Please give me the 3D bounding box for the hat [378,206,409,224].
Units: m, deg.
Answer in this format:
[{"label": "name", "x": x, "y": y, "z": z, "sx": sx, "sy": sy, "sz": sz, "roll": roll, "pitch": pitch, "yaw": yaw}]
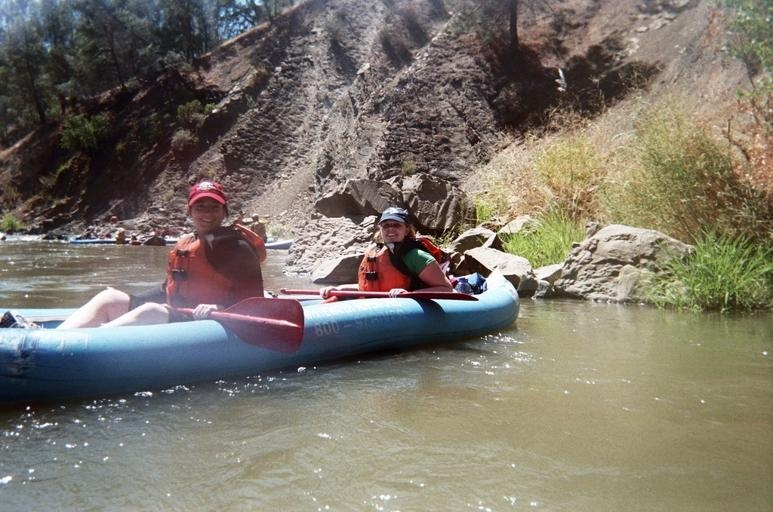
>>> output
[{"label": "hat", "x": 0.078, "y": -0.436, "z": 6.897, "sx": 0.286, "sy": 0.166, "sz": 0.269, "roll": -3, "pitch": 3, "yaw": 2}]
